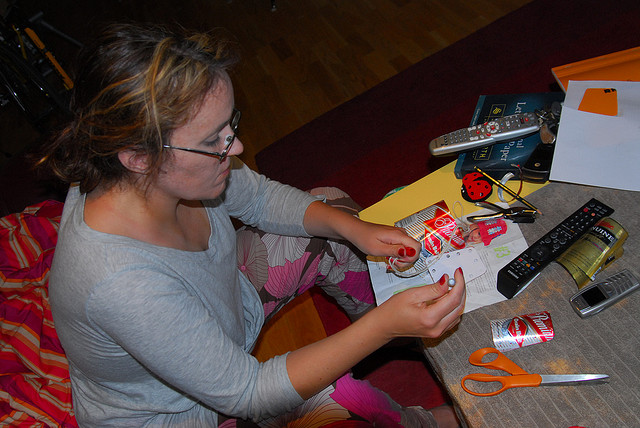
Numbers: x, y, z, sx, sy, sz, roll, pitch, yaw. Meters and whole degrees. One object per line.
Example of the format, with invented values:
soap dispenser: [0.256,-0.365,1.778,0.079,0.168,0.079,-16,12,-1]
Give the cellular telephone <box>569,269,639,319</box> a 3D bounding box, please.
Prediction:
cellular telephone: [0.749,0.219,1.238,0.196,0.035,0.091,-33,56,-7]

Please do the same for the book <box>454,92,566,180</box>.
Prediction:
book: [0.644,-0.239,1.529,0.367,0.075,0.405,-14,52,27]

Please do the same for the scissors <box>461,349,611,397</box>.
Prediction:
scissors: [0.534,0.417,1.187,0.337,0.028,0.142,-2,50,15]

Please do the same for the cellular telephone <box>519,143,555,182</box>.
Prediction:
cellular telephone: [0.677,-0.159,1.439,0.081,0.096,0.104,20,32,23]

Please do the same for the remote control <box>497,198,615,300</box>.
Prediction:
remote control: [0.668,0.110,1.298,0.299,0.089,0.077,-40,64,-6]
